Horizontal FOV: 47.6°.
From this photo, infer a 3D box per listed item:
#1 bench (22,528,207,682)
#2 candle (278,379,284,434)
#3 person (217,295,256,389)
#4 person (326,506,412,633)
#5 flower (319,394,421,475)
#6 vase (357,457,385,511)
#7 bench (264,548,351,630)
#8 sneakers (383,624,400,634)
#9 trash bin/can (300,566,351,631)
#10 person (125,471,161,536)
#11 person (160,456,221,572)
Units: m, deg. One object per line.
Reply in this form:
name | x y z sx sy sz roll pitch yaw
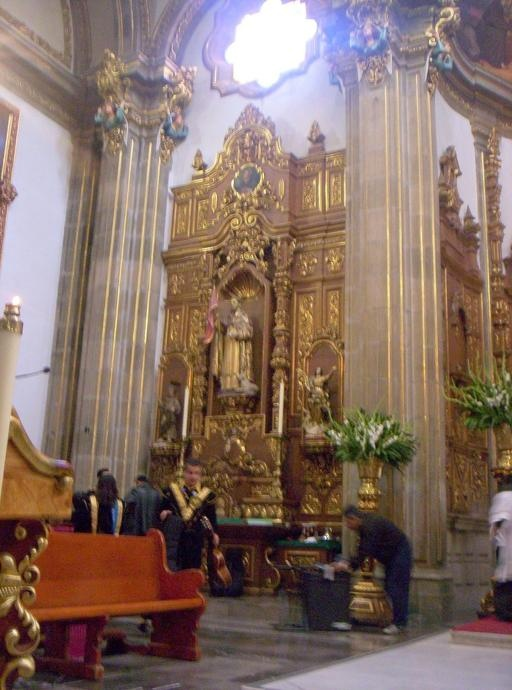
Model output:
bench | -0.816 1.466 3.285 0.387 0.833 1.111 -12 -21 31
candle | 0.384 0.957 8.816 0.090 0.867 0.214 0 -12 4
person | -0.264 0.033 9.243 0.552 1.547 0.358 2 -12 -2
person | 1.173 2.180 5.646 0.638 1.232 0.401 -9 -8 30
flower | 1.215 0.994 6.308 0.712 0.591 0.894 -3 5 23
vase | 1.206 1.471 6.125 0.256 0.583 0.319 4 -11 -15
bench | 0.512 2.449 5.650 0.607 0.762 0.554 -11 -39 36
sneakers | 1.219 2.566 5.230 0.161 0.098 0.062 19 -23 -37
trash bin/can | 0.688 2.242 5.645 0.423 0.693 0.662 0 24 8
person | -1.284 1.827 6.701 0.302 0.920 0.361 -1 31 -16
person | -0.624 1.704 5.348 0.421 1.371 0.329 2 14 -14
